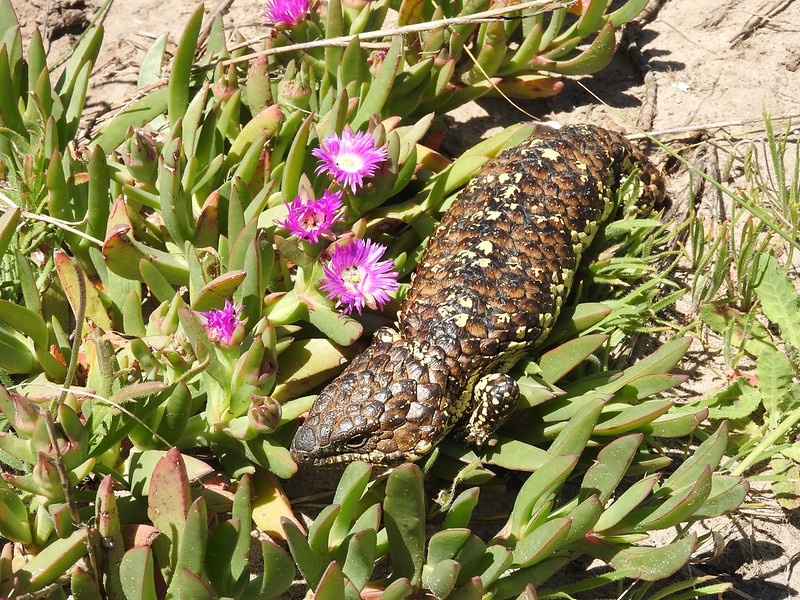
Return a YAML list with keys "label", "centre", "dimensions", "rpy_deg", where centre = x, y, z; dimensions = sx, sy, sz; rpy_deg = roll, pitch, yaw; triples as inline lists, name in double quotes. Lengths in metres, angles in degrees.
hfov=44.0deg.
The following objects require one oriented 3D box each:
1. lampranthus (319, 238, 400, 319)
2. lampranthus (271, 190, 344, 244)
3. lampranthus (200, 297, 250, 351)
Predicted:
- label: "lampranthus"
  centre: [-0.126, -0.093, 3.301]
  dimensions: [0.270, 0.127, 0.249]
  rpy_deg: [12, 71, -28]
- label: "lampranthus"
  centre: [-0.289, -0.290, 3.275]
  dimensions: [0.180, 0.179, 0.199]
  rpy_deg: [-25, 39, -35]
- label: "lampranthus"
  centre: [-0.552, 0.067, 3.160]
  dimensions: [0.156, 0.099, 0.154]
  rpy_deg: [34, 78, -21]
